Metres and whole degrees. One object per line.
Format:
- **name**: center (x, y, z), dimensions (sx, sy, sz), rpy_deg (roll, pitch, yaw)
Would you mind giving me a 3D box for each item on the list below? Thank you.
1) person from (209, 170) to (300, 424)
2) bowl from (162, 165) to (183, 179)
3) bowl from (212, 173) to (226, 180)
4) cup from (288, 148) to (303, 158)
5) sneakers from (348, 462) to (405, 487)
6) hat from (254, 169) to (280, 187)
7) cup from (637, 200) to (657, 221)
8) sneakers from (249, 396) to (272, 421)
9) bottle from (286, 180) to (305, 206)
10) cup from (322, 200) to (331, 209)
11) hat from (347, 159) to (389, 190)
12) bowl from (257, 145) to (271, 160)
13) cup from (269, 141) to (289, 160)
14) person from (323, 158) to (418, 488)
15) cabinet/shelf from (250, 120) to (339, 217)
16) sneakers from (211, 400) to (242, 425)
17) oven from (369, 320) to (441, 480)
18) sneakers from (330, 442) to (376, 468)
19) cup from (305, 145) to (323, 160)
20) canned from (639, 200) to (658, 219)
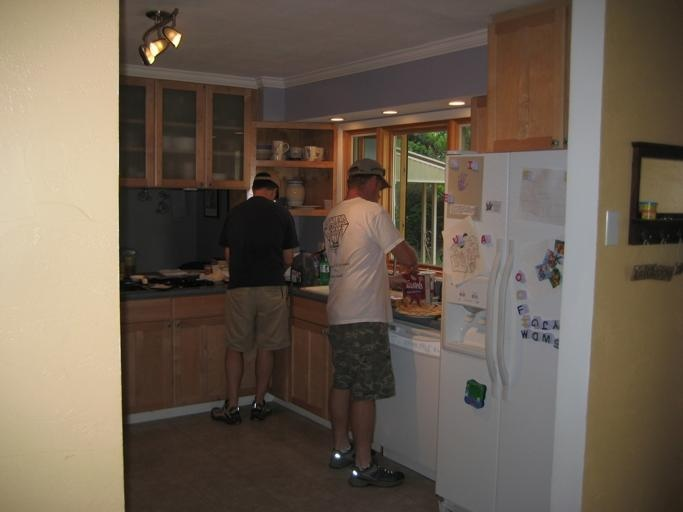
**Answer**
- **person**: center (-0.647, 0.326, 3.981), dimensions (0.634, 1.815, 0.252), rpy_deg (-1, 7, -15)
- **bowl**: center (-1.447, -0.704, 4.496), dimensions (0.098, 0.114, 0.118), rpy_deg (2, 6, 2)
- **bowl**: center (-1.068, -0.687, 4.638), dimensions (0.089, 0.063, 0.050), rpy_deg (1, 11, -15)
- **cup**: center (-0.412, -0.905, 4.695), dimensions (0.090, 0.090, 0.109), rpy_deg (-5, 12, -40)
- **sneakers**: center (0.202, 1.282, 3.179), dimensions (0.344, 0.166, 0.126), rpy_deg (0, 2, -8)
- **hat**: center (-0.579, -0.587, 4.062), dimensions (0.159, 0.121, 0.211), rpy_deg (11, 5, -2)
- **cup**: center (1.132, -0.167, 1.973), dimensions (0.071, 0.077, 0.071), rpy_deg (0, 7, 0)
- **sneakers**: center (-0.627, 1.164, 4.065), dimensions (0.089, 0.095, 0.210), rpy_deg (2, 6, 11)
- **bottle**: center (-0.406, -0.546, 4.655), dimensions (0.192, 0.262, 0.193), rpy_deg (2, 4, 0)
- **cup**: center (-0.132, -0.448, 4.658), dimensions (0.072, 0.072, 0.033), rpy_deg (10, 12, 41)
- **hat**: center (0.151, -0.482, 3.232), dimensions (0.154, 0.118, 0.214), rpy_deg (6, 6, 44)
- **bowl**: center (-0.681, -0.900, 4.650), dimensions (0.122, 0.098, 0.126), rpy_deg (0, 9, 0)
- **cup**: center (-0.544, -0.913, 4.639), dimensions (0.178, 0.189, 0.114), rpy_deg (-1, 5, -21)
- **person**: center (0.137, 0.379, 3.180), dimensions (0.580, 1.889, 0.405), rpy_deg (3, 7, 17)
- **cabinet/shelf**: center (-0.354, -0.784, 4.713), dimensions (0.800, 1.129, 0.663), rpy_deg (0, 5, -5)
- **sneakers**: center (-0.869, 1.175, 4.036), dimensions (0.254, 0.139, 0.116), rpy_deg (10, 8, 43)
- **oven**: center (0.538, 0.875, 3.432), dimensions (0.571, 0.846, 0.455), rpy_deg (6, 3, -23)
- **sneakers**: center (0.069, 1.246, 3.371), dimensions (0.324, 0.146, 0.118), rpy_deg (-5, 8, -40)
- **cup**: center (-0.240, -0.880, 4.599), dimensions (0.148, 0.110, 0.095), rpy_deg (2, 0, -38)
- **canned**: center (1.132, -0.173, 1.978), dimensions (0.068, 0.077, 0.069), rpy_deg (4, 7, 27)
